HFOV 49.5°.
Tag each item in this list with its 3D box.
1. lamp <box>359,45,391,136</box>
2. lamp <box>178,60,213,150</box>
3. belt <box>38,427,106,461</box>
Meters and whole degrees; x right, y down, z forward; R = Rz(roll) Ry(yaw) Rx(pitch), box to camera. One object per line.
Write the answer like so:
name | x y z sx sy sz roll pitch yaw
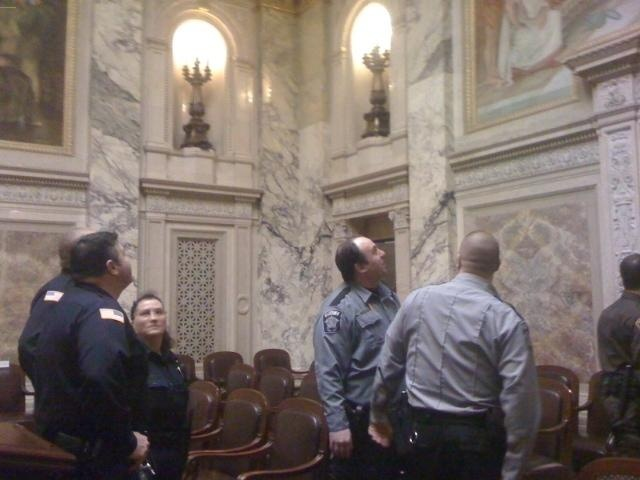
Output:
lamp | 0.772 -2.030 9.566 0.372 1.352 0.506 1 -9 4
lamp | -1.757 -1.941 9.968 0.470 1.382 0.605 3 -9 -8
belt | -1.382 1.151 3.902 0.206 0.054 0.204 14 -13 47
